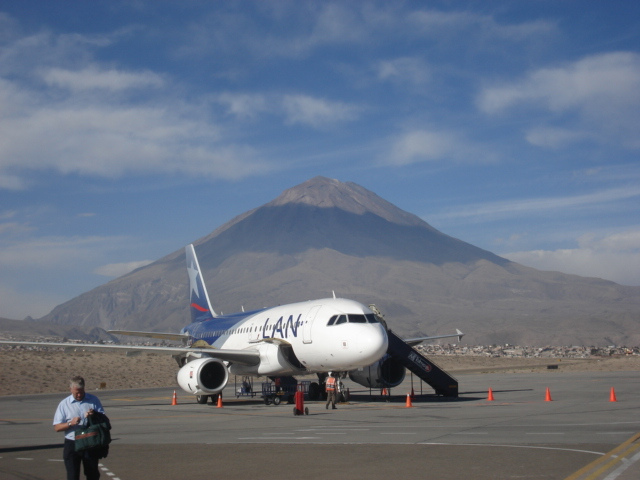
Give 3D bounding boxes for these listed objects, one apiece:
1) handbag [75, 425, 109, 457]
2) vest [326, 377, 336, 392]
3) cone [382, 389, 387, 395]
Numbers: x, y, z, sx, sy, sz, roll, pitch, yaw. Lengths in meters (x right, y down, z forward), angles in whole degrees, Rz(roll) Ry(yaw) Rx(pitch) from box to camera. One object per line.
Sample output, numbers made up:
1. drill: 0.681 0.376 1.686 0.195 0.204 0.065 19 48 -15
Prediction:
1. handbag: -5.320 4.671 17.468 0.800 0.758 0.293 2 3 -5
2. vest: 0.516 6.802 35.344 0.578 0.596 0.650 0 -27 1
3. cone: 3.701 8.782 43.339 0.515 0.259 1.133 -6 -14 6
